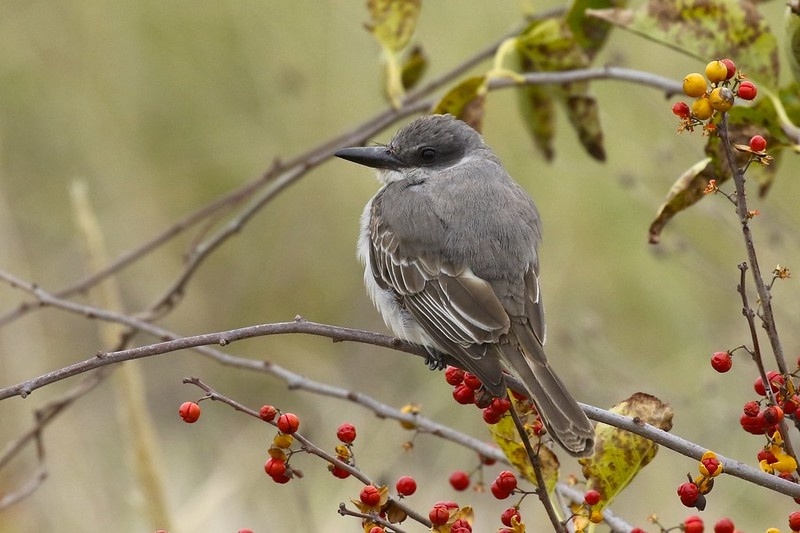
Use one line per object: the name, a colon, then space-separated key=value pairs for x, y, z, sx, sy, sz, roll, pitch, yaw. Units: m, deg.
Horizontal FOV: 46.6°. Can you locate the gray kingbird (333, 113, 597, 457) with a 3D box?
gray kingbird: x=0.325 y=-0.056 z=5.116 sx=1.363 sy=2.203 sz=1.081 roll=-5 pitch=4 yaw=-3
